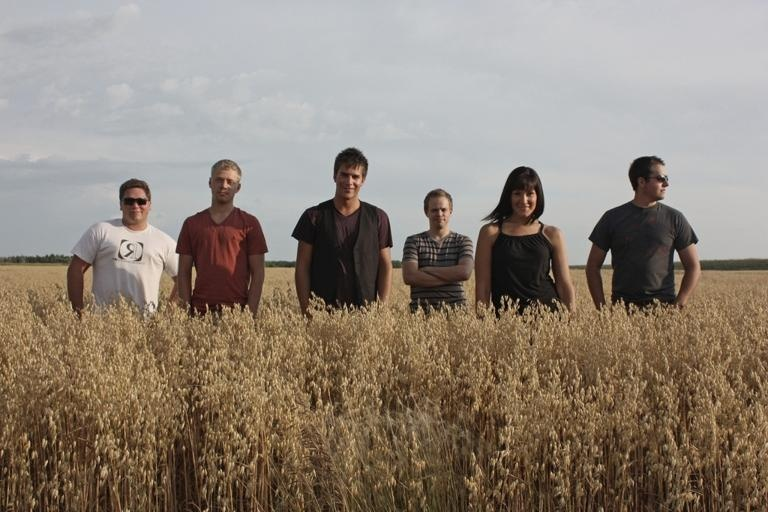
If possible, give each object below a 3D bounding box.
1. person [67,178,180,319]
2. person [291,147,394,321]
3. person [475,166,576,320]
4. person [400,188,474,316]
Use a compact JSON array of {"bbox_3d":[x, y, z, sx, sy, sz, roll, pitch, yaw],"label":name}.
[{"bbox_3d":[-3.132,0.079,9.762,1.246,2.533,0.608,6,-20,-29],"label":"person"},{"bbox_3d":[-0.489,-0.299,9.911,1.226,2.048,0.595,1,8,-7],"label":"person"},{"bbox_3d":[1.726,-0.187,9.751,1.180,1.776,0.636,3,8,7],"label":"person"},{"bbox_3d":[0.703,-0.065,10.056,0.888,1.580,0.996,2,8,2],"label":"person"}]
